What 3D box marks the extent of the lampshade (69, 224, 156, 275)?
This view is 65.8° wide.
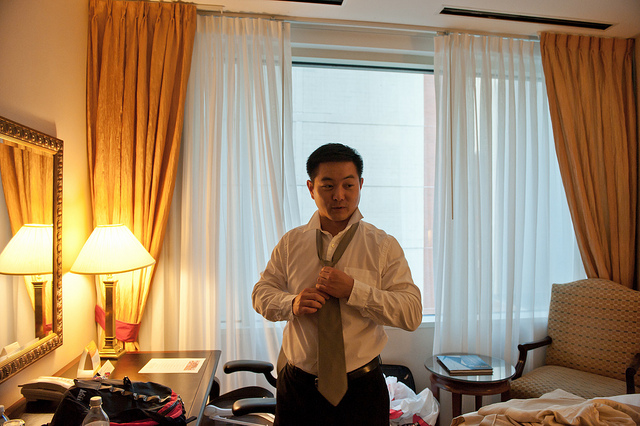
[{"bbox_3d":[-1.666,0.285,3.932,0.663,0.399,0.705,-3,3,24],"label":"lampshade"}]

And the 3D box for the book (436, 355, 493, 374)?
[{"bbox_3d":[1.215,1.283,4.191,0.395,0.081,0.353,0,-2,-4],"label":"book"}]

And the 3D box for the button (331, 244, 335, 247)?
[{"bbox_3d":[0.078,0.210,3.114,0.016,0.017,0.004,2,-6,-8],"label":"button"}]

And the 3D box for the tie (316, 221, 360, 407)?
[{"bbox_3d":[0.107,0.594,3.032,0.259,1.073,0.275,0,-1,-1],"label":"tie"}]
